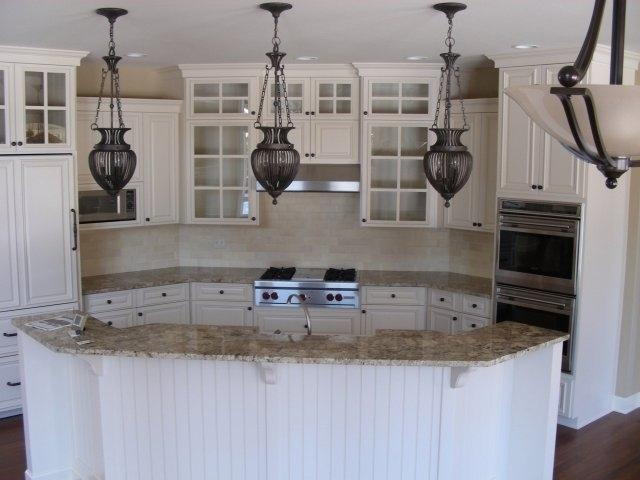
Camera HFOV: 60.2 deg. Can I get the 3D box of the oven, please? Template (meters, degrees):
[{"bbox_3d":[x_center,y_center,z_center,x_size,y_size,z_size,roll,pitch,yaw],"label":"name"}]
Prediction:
[{"bbox_3d":[1.732,0.414,5.138,1.014,1.443,0.897,12,-11,-29],"label":"oven"}]

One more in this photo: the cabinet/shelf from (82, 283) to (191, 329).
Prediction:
[{"bbox_3d":[-1.840,0.641,5.424,0.537,0.402,0.193,-2,6,-28],"label":"cabinet/shelf"}]

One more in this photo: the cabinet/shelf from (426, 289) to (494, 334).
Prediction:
[{"bbox_3d":[1.520,0.657,5.631,0.664,0.516,0.448,3,2,44],"label":"cabinet/shelf"}]

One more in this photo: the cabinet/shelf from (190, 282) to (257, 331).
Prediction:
[{"bbox_3d":[-0.982,0.636,6.133,0.829,0.595,0.470,1,2,6],"label":"cabinet/shelf"}]

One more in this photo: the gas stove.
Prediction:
[{"bbox_3d":[-0.137,0.515,5.970,1.101,0.323,0.586,0,7,-1],"label":"gas stove"}]

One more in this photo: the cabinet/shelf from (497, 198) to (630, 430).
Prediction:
[{"bbox_3d":[2.112,0.635,4.985,1.096,2.012,0.548,4,10,21],"label":"cabinet/shelf"}]
